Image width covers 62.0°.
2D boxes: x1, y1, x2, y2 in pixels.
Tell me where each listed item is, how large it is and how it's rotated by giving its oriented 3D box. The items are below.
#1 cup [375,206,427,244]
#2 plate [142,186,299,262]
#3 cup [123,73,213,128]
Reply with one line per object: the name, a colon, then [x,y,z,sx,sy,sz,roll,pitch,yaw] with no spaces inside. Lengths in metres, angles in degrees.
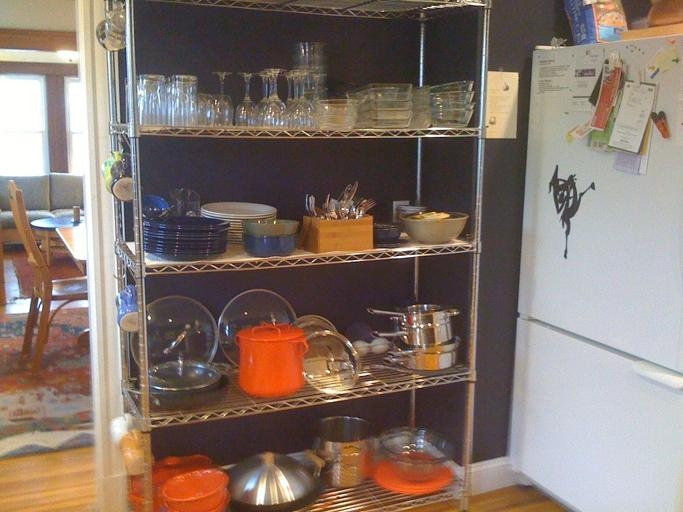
cup: [0.237,-0.145,2.452,0.227,0.080,0.156,-8,13,-43]
plate: [-0.498,-0.104,2.143,0.406,0.144,0.349,-4,16,-23]
cup: [-0.594,-0.537,1.983,0.266,0.184,0.143,1,4,12]
